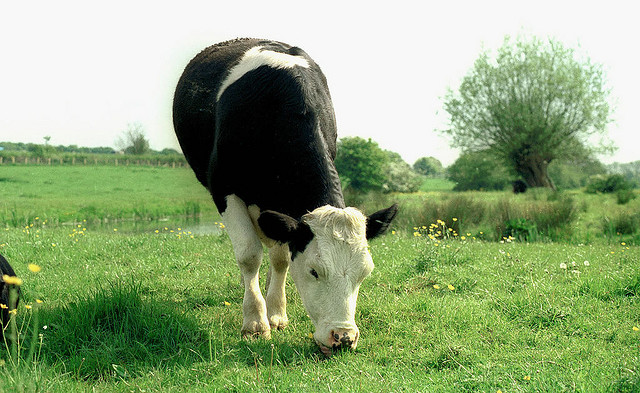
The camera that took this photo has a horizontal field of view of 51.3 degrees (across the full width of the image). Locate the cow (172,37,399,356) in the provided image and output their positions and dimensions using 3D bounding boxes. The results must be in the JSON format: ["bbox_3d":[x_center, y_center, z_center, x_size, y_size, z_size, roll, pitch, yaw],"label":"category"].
[{"bbox_3d":[-0.896,-0.159,14.322,4.375,6.832,1.737,-3,-3,35],"label":"cow"}]
